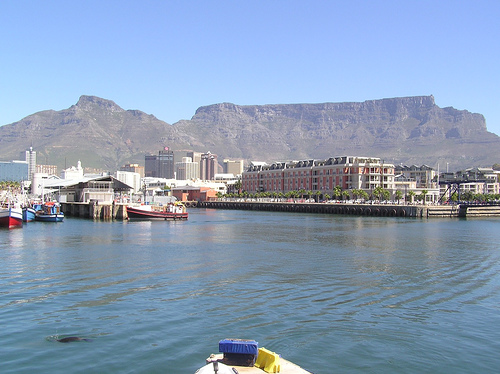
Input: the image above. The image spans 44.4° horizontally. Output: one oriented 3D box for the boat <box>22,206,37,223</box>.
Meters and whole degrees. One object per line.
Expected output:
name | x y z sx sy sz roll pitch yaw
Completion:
boat | -44.946 5.712 124.990 2.518 1.969 7.450 1 5 -6
